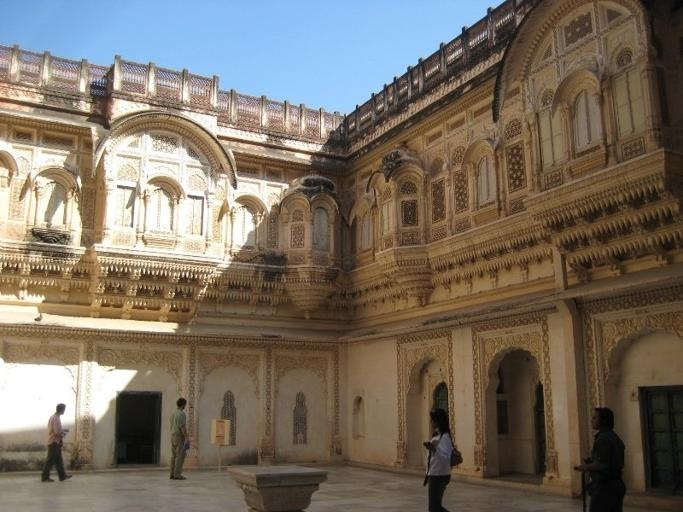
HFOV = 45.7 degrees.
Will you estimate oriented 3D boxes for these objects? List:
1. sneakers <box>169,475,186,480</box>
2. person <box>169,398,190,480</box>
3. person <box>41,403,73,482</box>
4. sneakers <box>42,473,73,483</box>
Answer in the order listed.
[{"bbox_3d":[-3.445,4.698,17.181,0.312,0.145,0.114,3,-6,-15],"label":"sneakers"},{"bbox_3d":[-3.419,3.866,17.106,0.359,1.699,1.079,3,-11,-11],"label":"person"},{"bbox_3d":[-5.872,3.877,16.823,0.537,1.580,0.993,5,-12,-19],"label":"person"},{"bbox_3d":[-5.855,4.588,16.679,0.590,0.276,0.193,-8,-15,8],"label":"sneakers"}]
